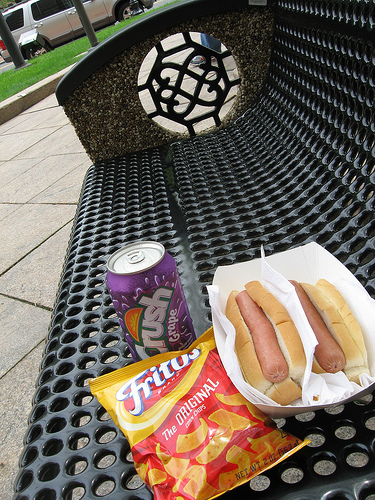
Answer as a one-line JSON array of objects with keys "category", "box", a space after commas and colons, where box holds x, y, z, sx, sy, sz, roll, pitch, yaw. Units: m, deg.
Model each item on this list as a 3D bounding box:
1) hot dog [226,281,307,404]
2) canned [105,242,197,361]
[{"category": "hot dog", "box": [0.114, 0.128, 0.585, 0.100, 0.064, 0.211, -32, 28, 0]}, {"category": "canned", "box": [-0.058, 0.076, 0.624, 0.166, 0.173, 0.095, -17, 33, -4]}]
